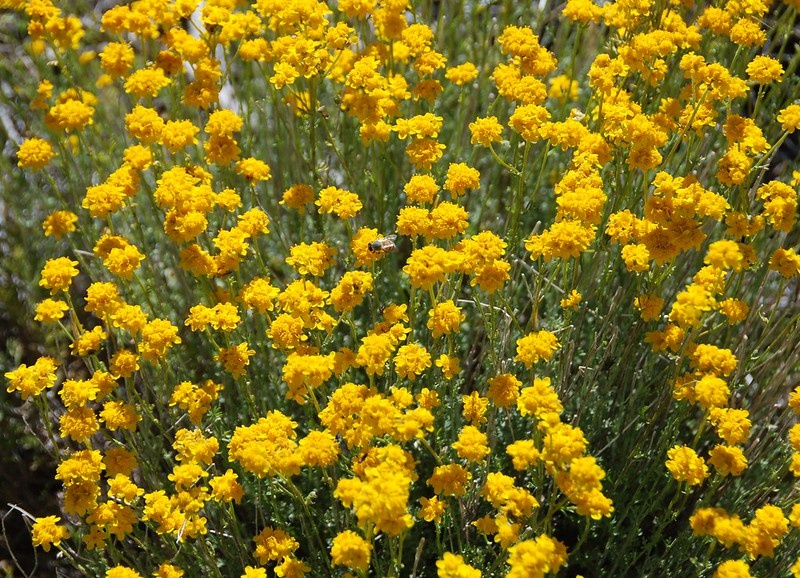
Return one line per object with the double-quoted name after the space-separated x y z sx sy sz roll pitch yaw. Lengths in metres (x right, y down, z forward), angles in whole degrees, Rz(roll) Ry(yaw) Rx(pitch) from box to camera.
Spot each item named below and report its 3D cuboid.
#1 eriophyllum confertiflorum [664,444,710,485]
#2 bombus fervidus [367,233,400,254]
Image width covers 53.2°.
1.252 0.772 3.488 0.164 0.218 0.210 7 22 23 "eriophyllum confertiflorum"
-0.072 -0.198 3.686 0.110 0.086 0.035 -5 -23 -4 "bombus fervidus"
